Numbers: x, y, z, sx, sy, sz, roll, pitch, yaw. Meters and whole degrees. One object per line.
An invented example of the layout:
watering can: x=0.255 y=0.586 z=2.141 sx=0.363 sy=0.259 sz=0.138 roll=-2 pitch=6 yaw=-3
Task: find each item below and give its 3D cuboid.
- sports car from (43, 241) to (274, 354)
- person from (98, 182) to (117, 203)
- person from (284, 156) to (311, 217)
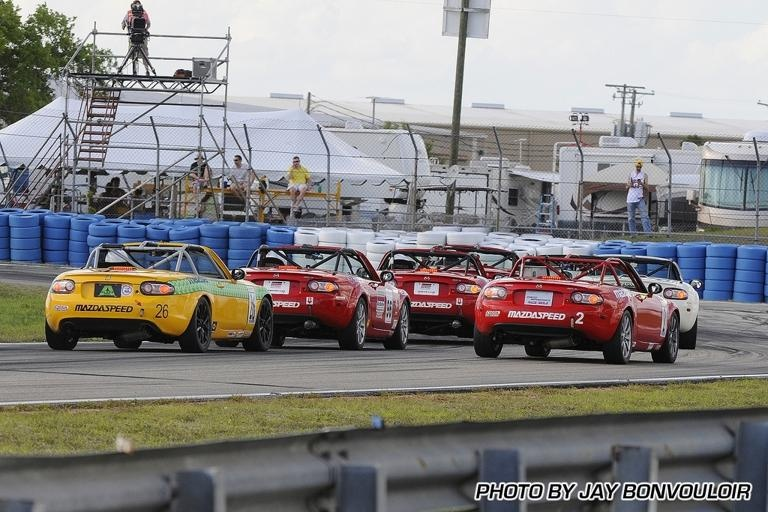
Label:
sports car: x=-2.480 y=0.503 z=14.319 sx=1.354 sy=0.737 sz=2.342 roll=0 pitch=-1 yaw=22
person: x=-8.334 y=-1.898 z=35.870 sx=0.481 sy=0.813 sz=3.480 roll=-2 pitch=-2 yaw=-13
person: x=-2.348 y=-1.853 z=32.729 sx=0.604 sy=1.644 sz=1.203 roll=-2 pitch=-1 yaw=-4
